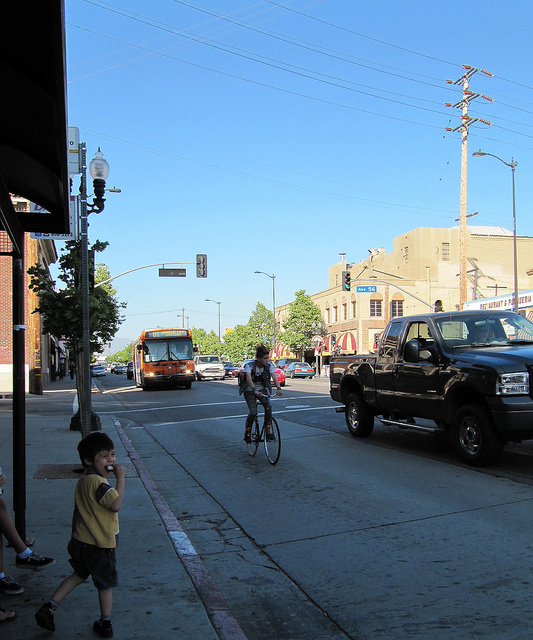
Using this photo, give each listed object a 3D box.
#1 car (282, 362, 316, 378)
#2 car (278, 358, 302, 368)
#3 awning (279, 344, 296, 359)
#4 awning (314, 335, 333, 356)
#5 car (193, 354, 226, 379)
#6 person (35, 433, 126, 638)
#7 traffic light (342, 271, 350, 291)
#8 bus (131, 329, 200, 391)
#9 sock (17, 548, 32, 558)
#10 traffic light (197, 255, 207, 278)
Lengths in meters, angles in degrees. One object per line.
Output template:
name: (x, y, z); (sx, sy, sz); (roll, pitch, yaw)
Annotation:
car: (2.629, 4.571, 54.577); (1.322, 1.334, 3.633); (0, -4, -19)
car: (2.300, 4.641, 65.299); (1.039, 0.702, 2.466); (-3, -5, 40)
awning: (2.638, 4.197, 80.206); (2.219, 1.084, 2.908); (0, -1, 2)
awning: (6.879, 3.113, 73.286); (2.312, 2.337, 2.229); (1, -7, 1)
car: (-5.064, 3.971, 51.070); (1.903, 1.441, 3.290); (0, -5, -13)
person: (-0.914, 1.119, 3.110); (0.474, 1.045, 0.222); (-3, -4, 24)
traffic light: (4.598, -2.360, 36.152); (0.437, 1.074, 1.091); (-2, -4, 7)
bus: (-5.832, 2.173, 34.819); (3.204, 3.220, 1.815); (-1, -4, -1)
sock: (-1.637, 1.585, 4.111); (0.047, 0.040, 0.109); (-44, -3, -11)
traffic light: (-3.664, -3.042, 33.432); (0.472, 1.241, 0.778); (-1, -4, -7)
